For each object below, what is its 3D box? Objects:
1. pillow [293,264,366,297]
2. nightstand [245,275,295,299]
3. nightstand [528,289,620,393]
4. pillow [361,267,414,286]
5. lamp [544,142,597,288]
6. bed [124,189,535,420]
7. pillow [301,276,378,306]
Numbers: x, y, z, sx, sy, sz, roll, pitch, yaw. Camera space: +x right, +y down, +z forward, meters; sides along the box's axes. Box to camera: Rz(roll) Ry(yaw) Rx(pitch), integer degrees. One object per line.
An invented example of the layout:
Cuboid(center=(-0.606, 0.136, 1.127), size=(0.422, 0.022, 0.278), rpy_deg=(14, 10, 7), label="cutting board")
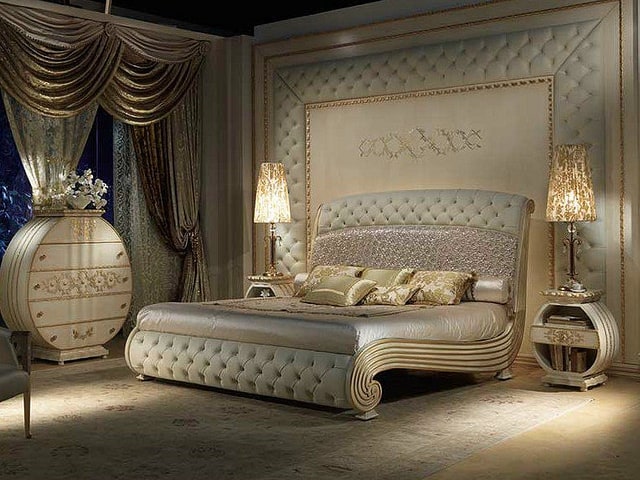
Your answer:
Cuboid(center=(0.120, 0.427, 5.050), size=(0.686, 0.162, 0.682), rpy_deg=(-19, 11, -30), label="pillow")
Cuboid(center=(-0.548, 0.539, 5.697), size=(0.340, 0.221, 0.392), rpy_deg=(-2, 2, -40), label="nightstand")
Cuboid(center=(2.214, 0.861, 4.239), size=(0.484, 0.771, 0.586), rpy_deg=(5, -6, -37), label="nightstand")
Cuboid(center=(0.667, 0.350, 4.720), size=(0.260, 0.071, 0.245), rpy_deg=(0, 22, 35), label="pillow")
Cuboid(center=(2.250, -0.202, 4.304), size=(0.320, 1.310, 0.274), rpy_deg=(2, -4, -30), label="lamp")
Cuboid(center=(0.494, 0.582, 4.409), size=(2.559, 1.646, 2.683), rpy_deg=(-1, -1, 41), label="bed")
Cuboid(center=(0.166, 0.462, 4.648), size=(0.534, 0.145, 0.598), rpy_deg=(1, 23, 16), label="pillow")
